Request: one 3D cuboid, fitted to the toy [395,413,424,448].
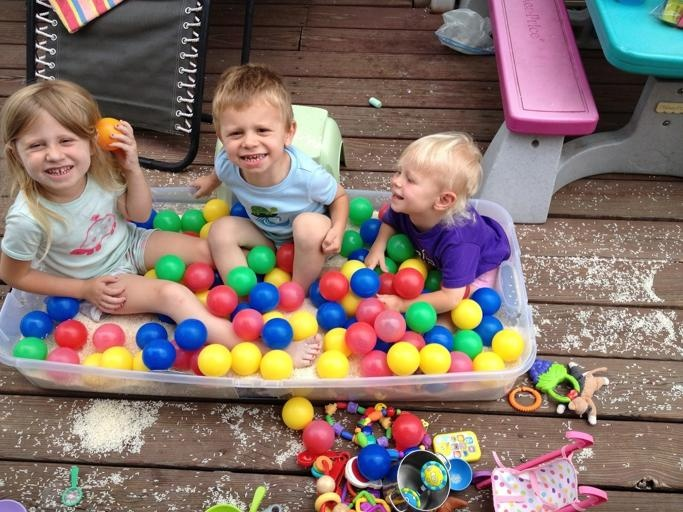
[{"bbox_3d":[0.235,0.570,2.148,0.110,0.106,0.120,2,67,16],"label":"toy"}]

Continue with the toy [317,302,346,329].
[{"bbox_3d":[-0.038,0.215,2.363,0.097,0.107,0.092,1,60,-8],"label":"toy"}]

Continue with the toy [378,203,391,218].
[{"bbox_3d":[0.173,-0.179,2.573,0.031,0.058,0.057,27,49,-25],"label":"toy"}]

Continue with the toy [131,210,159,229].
[{"bbox_3d":[-0.773,-0.141,2.571,0.085,0.085,0.097,-4,90,30],"label":"toy"}]

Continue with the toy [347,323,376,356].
[{"bbox_3d":[0.065,0.281,2.245,0.104,0.117,0.098,-5,62,9],"label":"toy"}]

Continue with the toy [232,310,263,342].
[{"bbox_3d":[-0.317,0.238,2.268,0.107,0.120,0.101,1,57,11],"label":"toy"}]

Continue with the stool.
[{"bbox_3d":[-0.213,-0.470,2.550,0.435,0.394,0.411,5,66,5],"label":"stool"}]

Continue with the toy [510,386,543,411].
[{"bbox_3d":[0.637,0.496,2.246,0.122,0.031,0.091,7,42,-1],"label":"toy"}]

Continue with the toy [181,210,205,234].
[{"bbox_3d":[-0.598,-0.140,2.653,0.094,0.105,0.089,11,83,0],"label":"toy"}]

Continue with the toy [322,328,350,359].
[{"bbox_3d":[-0.025,0.300,2.249,0.096,0.093,0.105,4,96,-9],"label":"toy"}]

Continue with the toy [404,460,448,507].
[{"bbox_3d":[0.255,0.703,1.987,0.091,0.028,0.157,44,94,3],"label":"toy"}]

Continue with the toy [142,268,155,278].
[{"bbox_3d":[-0.723,0.066,2.410,0.037,0.043,0.037,41,90,-18],"label":"toy"}]

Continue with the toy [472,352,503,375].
[{"bbox_3d":[0.498,0.366,2.224,0.072,0.081,0.070,20,51,-7],"label":"toy"}]

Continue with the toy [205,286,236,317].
[{"bbox_3d":[-0.415,0.157,2.258,0.109,0.122,0.103,0,70,-6],"label":"toy"}]

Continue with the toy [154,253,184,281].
[{"bbox_3d":[-0.622,0.050,2.413,0.095,0.106,0.091,-1,51,11],"label":"toy"}]

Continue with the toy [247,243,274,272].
[{"bbox_3d":[-0.297,0.012,2.455,0.098,0.109,0.093,6,57,8],"label":"toy"}]

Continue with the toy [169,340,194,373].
[{"bbox_3d":[-0.543,0.353,2.272,0.090,0.103,0.085,22,78,-12],"label":"toy"}]

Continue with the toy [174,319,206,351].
[{"bbox_3d":[-0.505,0.266,2.170,0.070,0.082,0.067,-37,58,24],"label":"toy"}]

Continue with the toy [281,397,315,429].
[{"bbox_3d":[-0.145,0.527,2.172,0.105,0.087,0.099,16,43,8],"label":"toy"}]

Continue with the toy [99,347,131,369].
[{"bbox_3d":[-0.750,0.344,2.166,0.083,0.080,0.076,-3,52,-4],"label":"toy"}]

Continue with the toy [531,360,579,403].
[{"bbox_3d":[0.742,0.435,2.265,0.110,0.048,0.153,-32,45,-21],"label":"toy"}]

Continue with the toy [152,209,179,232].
[{"bbox_3d":[-0.687,-0.137,2.559,0.091,0.101,0.084,-3,66,-6],"label":"toy"}]

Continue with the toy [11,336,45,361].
[{"bbox_3d":[-1.043,0.314,2.181,0.086,0.097,0.081,-11,73,6],"label":"toy"}]

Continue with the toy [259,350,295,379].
[{"bbox_3d":[-0.214,0.371,2.207,0.099,0.111,0.093,-6,77,4],"label":"toy"}]

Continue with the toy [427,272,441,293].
[{"bbox_3d":[0.341,0.098,2.433,0.064,0.062,0.074,-11,25,16],"label":"toy"}]

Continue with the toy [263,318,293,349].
[{"bbox_3d":[-0.224,0.263,2.247,0.102,0.114,0.097,-4,64,-8],"label":"toy"}]

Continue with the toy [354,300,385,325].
[{"bbox_3d":[0.095,0.193,2.325,0.090,0.100,0.084,-17,70,-3],"label":"toy"}]

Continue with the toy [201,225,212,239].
[{"bbox_3d":[-0.522,-0.092,2.502,0.034,0.040,0.034,34,63,22],"label":"toy"}]

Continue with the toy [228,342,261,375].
[{"bbox_3d":[-0.321,0.347,2.230,0.108,0.120,0.102,-4,59,4],"label":"toy"}]

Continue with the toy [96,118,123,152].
[{"bbox_3d":[-0.788,-0.417,2.230,0.095,0.108,0.092,-3,24,6],"label":"toy"}]

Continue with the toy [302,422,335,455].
[{"bbox_3d":[-0.079,0.596,2.116,0.099,0.104,0.090,22,45,14],"label":"toy"}]

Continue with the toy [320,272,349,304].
[{"bbox_3d":[-0.027,0.107,2.359,0.102,0.117,0.100,17,65,13],"label":"toy"}]

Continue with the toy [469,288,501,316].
[{"bbox_3d":[0.538,0.165,2.445,0.104,0.116,0.098,-7,59,-11],"label":"toy"}]

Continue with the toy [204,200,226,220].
[{"bbox_3d":[-0.507,-0.184,2.651,0.098,0.082,0.083,-8,21,-27],"label":"toy"}]

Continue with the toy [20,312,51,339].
[{"bbox_3d":[-1.062,0.238,2.313,0.101,0.112,0.095,-3,66,-5],"label":"toy"}]

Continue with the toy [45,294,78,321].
[{"bbox_3d":[-0.987,0.184,2.287,0.097,0.108,0.089,1,93,-1],"label":"toy"}]

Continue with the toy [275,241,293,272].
[{"bbox_3d":[-0.214,0.006,2.425,0.072,0.083,0.072,24,31,15],"label":"toy"}]

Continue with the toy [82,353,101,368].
[{"bbox_3d":[-0.842,0.357,2.193,0.054,0.040,0.039,-14,64,2],"label":"toy"}]

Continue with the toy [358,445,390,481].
[{"bbox_3d":[0.100,0.654,2.033,0.069,0.076,0.066,-22,63,-24],"label":"toy"}]

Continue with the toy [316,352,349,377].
[{"bbox_3d":[-0.028,0.368,2.221,0.091,0.098,0.090,34,70,15],"label":"toy"}]

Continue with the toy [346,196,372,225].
[{"bbox_3d":[0.074,-0.179,2.649,0.104,0.115,0.099,9,61,3],"label":"toy"}]

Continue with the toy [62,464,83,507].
[{"bbox_3d":[-0.855,0.733,2.061,0.061,0.019,0.112,-4,49,0],"label":"toy"}]

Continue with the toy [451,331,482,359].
[{"bbox_3d":[0.441,0.308,2.331,0.097,0.111,0.094,21,84,2],"label":"toy"}]

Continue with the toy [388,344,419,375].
[{"bbox_3d":[0.200,0.342,2.149,0.105,0.121,0.101,-9,73,28],"label":"toy"}]

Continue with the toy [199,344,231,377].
[{"bbox_3d":[-0.422,0.346,2.138,0.092,0.103,0.087,-8,77,6],"label":"toy"}]
